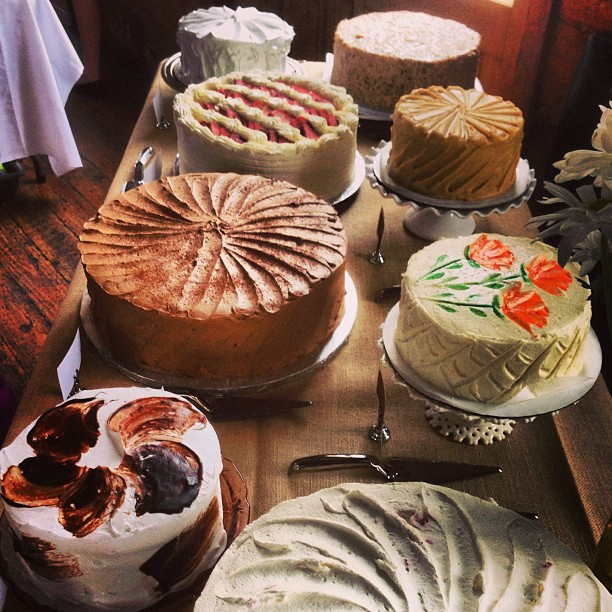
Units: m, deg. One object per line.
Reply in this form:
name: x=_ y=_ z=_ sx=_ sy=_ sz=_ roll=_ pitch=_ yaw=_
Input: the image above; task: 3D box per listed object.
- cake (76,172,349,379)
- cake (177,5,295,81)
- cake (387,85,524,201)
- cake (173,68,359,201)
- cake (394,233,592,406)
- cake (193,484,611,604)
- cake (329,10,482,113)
cake: x=-0.261 y=-0.167 z=2.020 sx=0.642 sy=0.211 sz=0.617 roll=-36 pitch=62 yaw=-19
cake: x=-0.300 y=-1.149 z=3.243 sx=0.631 sy=0.271 sz=0.495 roll=5 pitch=28 yaw=3
cake: x=0.507 y=-0.569 z=2.348 sx=0.487 sy=0.218 sz=0.363 roll=-3 pitch=46 yaw=0
cake: x=-0.159 y=-0.637 z=2.592 sx=0.646 sy=0.216 sz=0.530 roll=14 pitch=44 yaw=7
cake: x=0.389 y=0.021 z=1.760 sx=0.487 sy=0.211 sz=0.488 roll=32 pitch=48 yaw=33
cake: x=0.222 y=0.485 z=1.384 sx=0.773 sy=0.108 sz=0.311 roll=6 pitch=45 yaw=5
cake: x=0.417 y=-1.097 z=3.210 sx=0.787 sy=0.240 sz=0.598 roll=-2 pitch=30 yaw=-6
